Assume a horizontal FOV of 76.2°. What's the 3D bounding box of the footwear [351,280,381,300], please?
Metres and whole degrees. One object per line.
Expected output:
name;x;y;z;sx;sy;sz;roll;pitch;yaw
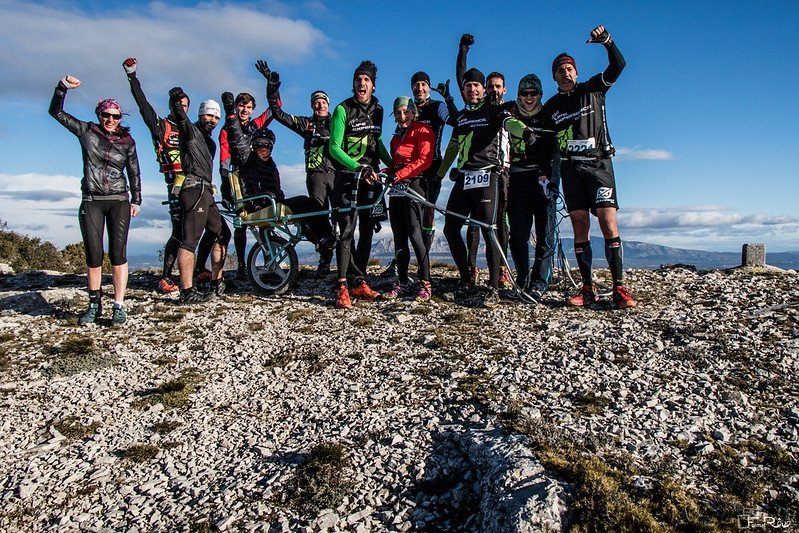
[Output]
footwear;-0.684;0.582;12.082;0.800;0.520;0.322;2;8;5

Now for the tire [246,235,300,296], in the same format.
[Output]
tire;-3.002;0.017;12.160;1.365;1.442;0.319;-1;3;16

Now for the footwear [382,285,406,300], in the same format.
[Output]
footwear;-0.095;0.622;12.003;0.671;0.333;0.240;-5;15;-41

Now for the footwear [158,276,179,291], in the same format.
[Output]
footwear;-5.570;0.486;12.308;0.438;0.210;0.249;0;1;33

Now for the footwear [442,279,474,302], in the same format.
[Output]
footwear;1.367;0.628;12.031;0.609;0.224;0.449;-11;16;-31

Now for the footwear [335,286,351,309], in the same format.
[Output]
footwear;-1.262;0.741;11.421;0.249;0.269;0.617;-2;7;-13

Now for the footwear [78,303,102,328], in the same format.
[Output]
footwear;-6.292;1.003;10.406;0.451;0.408;0.340;-4;4;-42

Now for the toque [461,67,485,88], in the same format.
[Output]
toque;1.628;-4.177;11.175;0.432;0.374;0.852;-1;4;8

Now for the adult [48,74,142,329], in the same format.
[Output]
adult;-6.083;-1.275;10.457;1.376;4.904;0.754;-3;3;-29

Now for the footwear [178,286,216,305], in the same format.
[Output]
footwear;-4.646;0.664;11.772;0.877;0.415;0.335;-2;9;-25

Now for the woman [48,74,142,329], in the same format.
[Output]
woman;-6.084;-1.275;10.457;1.378;4.904;0.754;-3;3;-29

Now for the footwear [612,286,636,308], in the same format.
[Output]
footwear;4.726;0.685;10.757;0.272;0.273;0.588;-24;16;2

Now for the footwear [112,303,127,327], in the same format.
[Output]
footwear;-5.720;0.997;10.403;0.271;0.439;0.264;-3;3;-30
